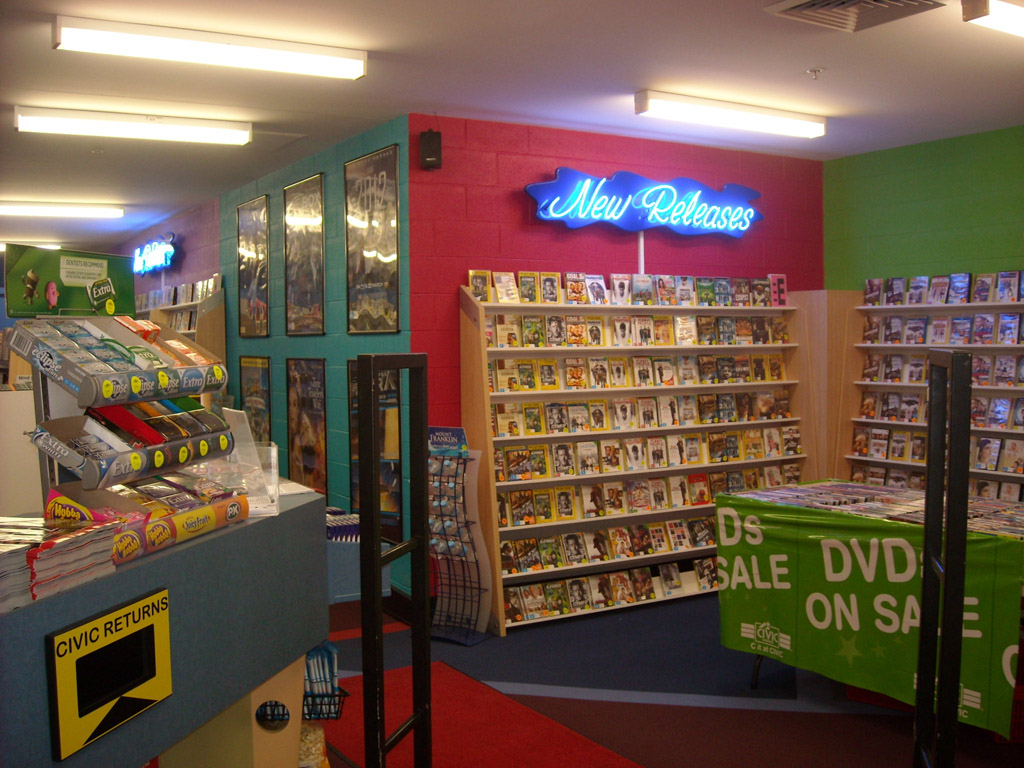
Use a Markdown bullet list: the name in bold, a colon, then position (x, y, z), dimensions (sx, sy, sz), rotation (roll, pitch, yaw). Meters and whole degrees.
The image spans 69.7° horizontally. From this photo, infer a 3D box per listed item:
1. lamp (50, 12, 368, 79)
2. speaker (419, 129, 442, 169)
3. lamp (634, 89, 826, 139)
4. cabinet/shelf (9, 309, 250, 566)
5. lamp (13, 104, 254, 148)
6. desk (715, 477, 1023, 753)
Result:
- **lamp**: position (-1.968, -2.010, 4.657), dimensions (1.506, 0.124, 0.228), rotation (1, -6, -27)
- **speaker**: position (-0.678, -1.963, 6.100), dimensions (0.211, 0.352, 0.201), rotation (-1, 4, -7)
- **lamp**: position (1.880, -2.348, 6.491), dimensions (2.545, 0.269, 0.393), rotation (-9, 23, -33)
- **cabinet/shelf**: position (-1.354, 0.130, 2.715), dimensions (0.743, 0.761, 0.761), rotation (2, 5, 28)
- **lamp**: position (-3.175, -2.150, 5.999), dimensions (1.560, 0.249, 0.127), rotation (-3, 2, -7)
- **desk**: position (1.970, 1.253, 4.284), dimensions (1.157, 0.953, 1.639), rotation (-1, 3, -34)
